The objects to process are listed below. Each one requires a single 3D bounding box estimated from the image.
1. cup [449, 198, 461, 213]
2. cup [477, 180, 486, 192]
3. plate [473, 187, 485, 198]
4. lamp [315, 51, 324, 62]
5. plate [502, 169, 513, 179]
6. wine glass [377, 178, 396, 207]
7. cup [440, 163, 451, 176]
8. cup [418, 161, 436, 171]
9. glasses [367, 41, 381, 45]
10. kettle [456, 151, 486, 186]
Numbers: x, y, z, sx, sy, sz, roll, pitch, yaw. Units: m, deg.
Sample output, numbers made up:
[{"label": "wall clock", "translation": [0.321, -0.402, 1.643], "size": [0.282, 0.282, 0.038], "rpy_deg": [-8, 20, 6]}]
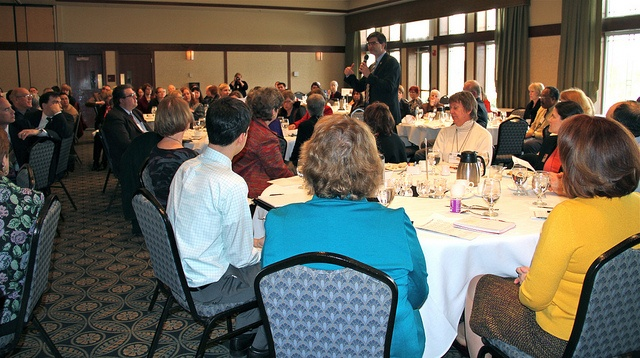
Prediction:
[{"label": "cup", "translation": [1.081, 0.203, 3.565], "size": [0.097, 0.102, 0.098], "rpy_deg": [-1, -1, 0]}, {"label": "cup", "translation": [1.371, 0.057, 3.766], "size": [0.085, 0.089, 0.085], "rpy_deg": [-3, 12, 1]}, {"label": "plate", "translation": [1.385, 0.102, 3.851], "size": [0.078, 0.079, 0.081], "rpy_deg": [10, 42, 30]}, {"label": "lamp", "translation": [-0.029, -4.930, 17.747], "size": [0.298, 0.408, 0.297], "rpy_deg": [-1, 0, -3]}, {"label": "plate", "translation": [1.829, -0.055, 4.315], "size": [0.097, 0.024, 0.100], "rpy_deg": [-5, 16, -12]}, {"label": "wine glass", "translation": [0.488, 0.094, 3.283], "size": [0.153, 0.246, 0.158], "rpy_deg": [3, 30, 11]}, {"label": "cup", "translation": [1.238, -0.102, 4.374], "size": [0.107, 0.100, 0.099], "rpy_deg": [-1, 4, 0]}, {"label": "cup", "translation": [1.074, -0.134, 4.390], "size": [0.123, 0.075, 0.124], "rpy_deg": [-1, 10, 0]}, {"label": "glasses", "translation": [0.790, -2.003, 6.515], "size": [0.177, 0.043, 0.070], "rpy_deg": [5, 16, 19]}, {"label": "kettle", "translation": [1.353, -0.104, 4.088], "size": [0.346, 0.377, 0.282], "rpy_deg": [3, 5, 5]}]
